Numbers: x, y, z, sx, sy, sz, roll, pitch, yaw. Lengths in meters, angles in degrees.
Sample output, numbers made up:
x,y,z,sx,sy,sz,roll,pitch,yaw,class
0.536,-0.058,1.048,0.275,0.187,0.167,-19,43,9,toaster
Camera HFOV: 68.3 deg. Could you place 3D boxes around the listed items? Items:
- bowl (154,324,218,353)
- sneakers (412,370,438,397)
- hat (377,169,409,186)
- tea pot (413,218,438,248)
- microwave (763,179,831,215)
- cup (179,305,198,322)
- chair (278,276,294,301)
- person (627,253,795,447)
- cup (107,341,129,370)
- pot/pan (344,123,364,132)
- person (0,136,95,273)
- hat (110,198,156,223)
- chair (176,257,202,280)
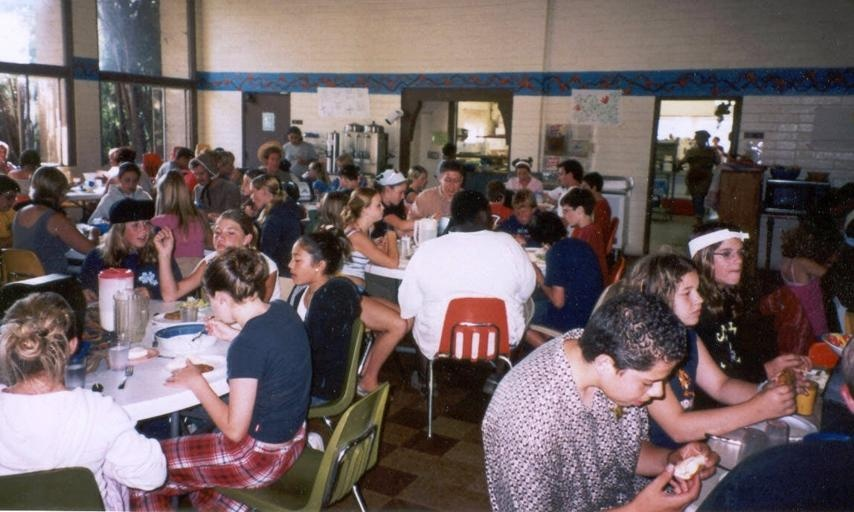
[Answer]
x,y,z,sx,sy,sz,roll,pitch,yaw,class
-1.495,0.477,3.768,0.236,0.097,0.240,0,11,0,bowl
-0.070,1.109,5.409,0.281,0.194,0.110,11,19,40,sneakers
-0.395,-0.869,7.116,0.242,0.151,0.314,0,5,-1,hat
-0.017,-0.222,5.744,0.301,0.287,0.177,-3,9,-14,tea pot
4.856,-0.783,8.279,0.793,0.476,0.413,2,9,19,microwave
-1.505,0.358,3.986,0.123,0.082,0.106,2,7,-3,cup
-1.091,0.256,4.862,0.217,0.190,0.113,0,-3,-7,chair
1.470,0.533,3.429,1.042,0.940,0.746,3,1,34,person
-1.702,0.556,3.549,0.140,0.140,0.134,7,8,-1,cup
-1.287,-2.284,11.234,0.218,0.100,0.208,2,10,12,pot/pan
-3.417,-0.310,5.741,0.584,1.004,0.477,8,17,30,person
-2.090,-0.320,4.463,0.278,0.167,0.177,-6,15,-26,hat
-1.954,0.078,5.162,0.179,0.232,0.191,2,27,-22,chair
